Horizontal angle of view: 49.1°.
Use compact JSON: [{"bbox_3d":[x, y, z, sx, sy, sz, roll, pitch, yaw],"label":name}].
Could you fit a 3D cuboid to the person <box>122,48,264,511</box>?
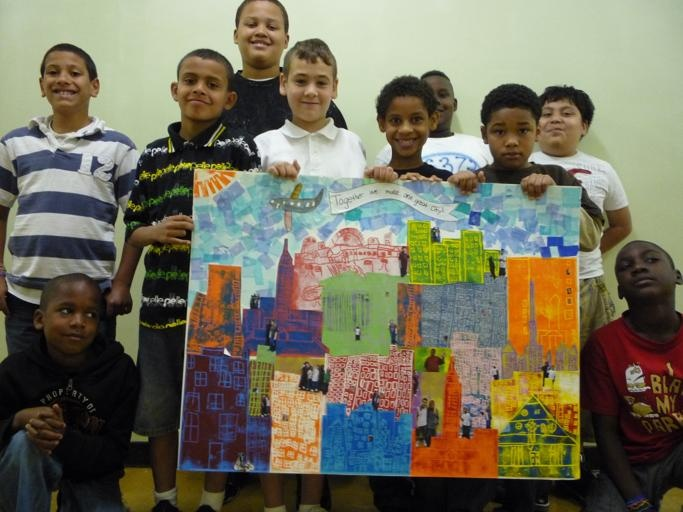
[{"bbox_3d":[-0.627,0.082,3.110,0.538,1.913,0.353,0,0,-9],"label":"person"}]
